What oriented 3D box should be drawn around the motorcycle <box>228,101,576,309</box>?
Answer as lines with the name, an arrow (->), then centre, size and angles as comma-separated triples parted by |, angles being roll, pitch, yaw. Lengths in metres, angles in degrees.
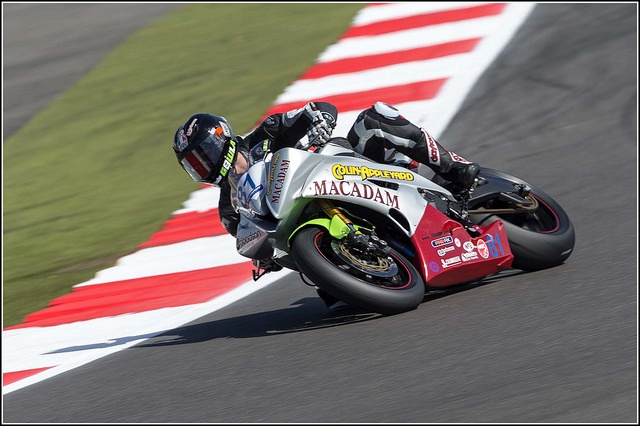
motorcycle -> 0.860, 0.028, 5.880 | 3.835, 1.810, 1.100 | -10, -36, -50

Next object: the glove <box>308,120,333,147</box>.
glove -> 0.007, -0.685, 5.252 | 0.246, 0.119, 0.222 | 8, 64, 24

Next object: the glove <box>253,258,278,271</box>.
glove -> -0.462, 0.445, 5.279 | 0.230, 0.066, 0.142 | 0, -1, -9
